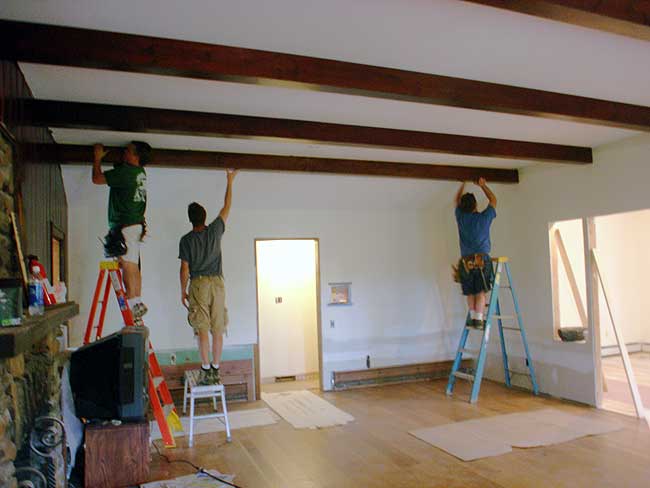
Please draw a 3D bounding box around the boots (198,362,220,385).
[{"bbox_3d":[-1.307,1.482,5.809,0.132,0.137,0.302,1,1,-10],"label":"boots"}]

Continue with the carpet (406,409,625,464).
[{"bbox_3d":[2.110,2.096,5.749,2.209,0.028,0.943,-1,1,-19],"label":"carpet"}]

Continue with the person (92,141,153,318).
[{"bbox_3d":[-2.143,-0.150,5.461,0.562,2.051,0.410,-1,0,-22],"label":"person"}]

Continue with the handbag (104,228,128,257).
[{"bbox_3d":[-2.196,-0.040,5.392,0.210,0.299,0.110,-15,-11,2],"label":"handbag"}]

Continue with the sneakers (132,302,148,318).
[{"bbox_3d":[-1.946,0.695,5.443,0.170,0.182,0.167,6,-3,-45],"label":"sneakers"}]

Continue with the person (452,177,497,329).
[{"bbox_3d":[2.034,0.139,6.970,0.651,1.695,0.482,-1,0,41],"label":"person"}]

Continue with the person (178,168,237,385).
[{"bbox_3d":[-1.336,0.373,5.860,0.671,2.421,0.397,-1,0,0],"label":"person"}]

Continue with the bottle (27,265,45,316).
[{"bbox_3d":[-2.094,0.324,3.708,0.091,0.386,0.300,-1,0,-30],"label":"bottle"}]

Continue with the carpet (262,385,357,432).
[{"bbox_3d":[-0.277,2.198,6.833,0.852,0.069,1.737,-2,1,-24],"label":"carpet"}]

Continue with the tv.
[{"bbox_3d":[-1.914,1.039,4.568,0.613,0.927,0.881,3,-9,-33],"label":"tv"}]

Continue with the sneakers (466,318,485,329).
[{"bbox_3d":[2.084,1.091,7.012,0.109,0.104,0.179,1,2,-24],"label":"sneakers"}]
